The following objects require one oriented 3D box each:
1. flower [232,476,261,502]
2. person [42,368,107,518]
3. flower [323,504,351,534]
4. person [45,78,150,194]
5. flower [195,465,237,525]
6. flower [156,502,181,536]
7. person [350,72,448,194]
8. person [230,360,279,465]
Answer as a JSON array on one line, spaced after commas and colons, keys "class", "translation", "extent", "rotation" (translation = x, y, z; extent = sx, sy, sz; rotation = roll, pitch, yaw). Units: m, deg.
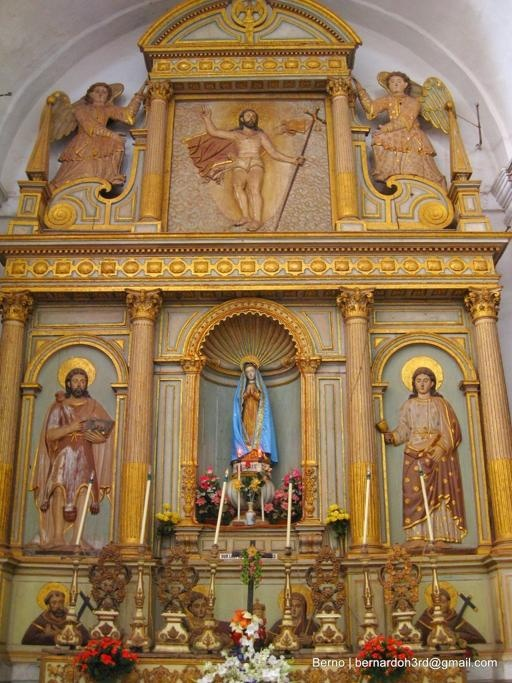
[{"class": "flower", "translation": [-0.107, 1.616, 8.538], "extent": [0.337, 0.266, 0.255], "rotation": [2, -64, 1]}, {"class": "person", "translation": [-2.023, 1.152, 8.660], "extent": [0.757, 1.732, 0.196], "rotation": [5, -25, -11]}, {"class": "flower", "translation": [0.883, 1.906, 8.248], "extent": [0.255, 0.336, 0.228], "rotation": [-2, -23, 4]}, {"class": "person", "translation": [-2.201, -2.825, 10.526], "extent": [1.299, 2.013, 0.403], "rotation": [-2, -24, 4]}, {"class": "flower", "translation": [-0.518, 1.785, 8.730], "extent": [0.523, 0.675, 0.435], "rotation": [9, -25, -21]}, {"class": "flower", "translation": [-0.956, 1.924, 8.296], "extent": [0.254, 0.335, 0.321], "rotation": [2, -23, -6]}, {"class": "person", "translation": [1.954, -2.797, 10.502], "extent": [1.192, 1.913, 0.590], "rotation": [-2, -8, 12]}, {"class": "person", "translation": [-0.016, 0.851, 9.166], "extent": [0.514, 1.180, 0.237], "rotation": [1, -24, -4]}]
